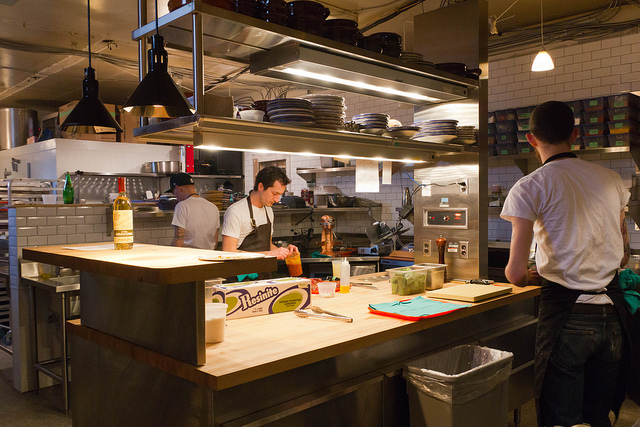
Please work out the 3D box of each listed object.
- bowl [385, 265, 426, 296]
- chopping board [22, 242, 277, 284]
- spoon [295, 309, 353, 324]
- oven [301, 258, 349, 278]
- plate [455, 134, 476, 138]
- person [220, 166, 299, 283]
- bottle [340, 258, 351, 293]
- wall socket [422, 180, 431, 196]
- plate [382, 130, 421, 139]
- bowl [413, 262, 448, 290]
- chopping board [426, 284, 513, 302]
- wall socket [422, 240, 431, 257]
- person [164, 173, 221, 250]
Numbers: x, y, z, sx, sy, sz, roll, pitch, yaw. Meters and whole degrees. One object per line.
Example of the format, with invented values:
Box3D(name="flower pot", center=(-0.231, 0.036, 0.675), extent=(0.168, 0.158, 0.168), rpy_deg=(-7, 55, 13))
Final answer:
Box3D(name="bowl", center=(0.766, 0.583, 4.239), extent=(0.390, 0.206, 0.210), rpy_deg=(-3, 2, -40))
Box3D(name="chopping board", center=(-1.100, 0.316, 3.141), extent=(1.642, 0.163, 0.570), rpy_deg=(0, 2, 33))
Box3D(name="spoon", center=(0.015, 0.738, 3.504), extent=(0.342, 0.057, 0.037), rpy_deg=(2, 44, 26))
Box3D(name="oven", center=(0.037, 0.599, 5.406), extent=(0.394, 0.232, 0.215), rpy_deg=(0, 1, 41))
Box3D(name="plate", center=(1.376, -0.710, 4.649), extent=(0.222, 0.026, 0.042), rpy_deg=(-2, 2, -30))
Box3D(name="person", center=(-0.599, 0.070, 4.849), extent=(0.746, 1.202, 0.604), rpy_deg=(1, 10, -16))
Box3D(name="bottle", center=(0.207, 0.535, 4.238), extent=(0.080, 0.278, 0.156), rpy_deg=(-1, 2, 4))
Box3D(name="wall socket", center=(1.089, -0.244, 5.067), extent=(0.040, 0.125, 0.144), rpy_deg=(2, 0, -45))
Box3D(name="plate", center=(0.663, -0.637, 4.065), extent=(0.310, 0.072, 0.091), rpy_deg=(-2, 2, -24))
Box3D(name="bowl", center=(0.948, 0.603, 4.471), extent=(0.398, 0.208, 0.368), rpy_deg=(-3, -9, 0))
Box3D(name="chopping board", center=(1.233, 0.660, 4.130), extent=(0.698, 0.054, 0.422), rpy_deg=(-2, 2, -43))
Box3D(name="wall socket", center=(1.080, 0.365, 5.021), extent=(0.091, 0.171, 0.020), rpy_deg=(0, 3, 37))
Box3D(name="person", center=(-1.455, -0.001, 5.941), extent=(0.652, 0.910, 0.794), rpy_deg=(5, 11, -8))
